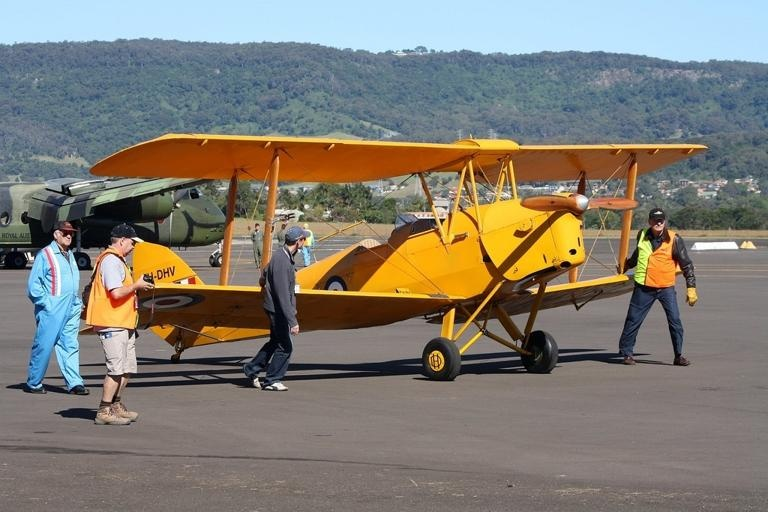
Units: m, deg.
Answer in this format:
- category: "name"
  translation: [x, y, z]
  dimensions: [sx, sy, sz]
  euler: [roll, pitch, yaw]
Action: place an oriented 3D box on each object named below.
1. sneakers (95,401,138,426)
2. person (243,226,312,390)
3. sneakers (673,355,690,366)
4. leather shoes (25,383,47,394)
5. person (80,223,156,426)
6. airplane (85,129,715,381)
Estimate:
- category: "sneakers"
  translation: [-3.104, 1.792, 12.012]
  dimensions: [0.426, 0.131, 0.281]
  euler: [1, 5, 0]
- category: "person"
  translation: [-1.423, 0.708, 13.534]
  dimensions: [0.815, 2.105, 0.917]
  euler: [-1, 10, -4]
- category: "sneakers"
  translation: [4.277, 1.495, 14.960]
  dimensions: [0.124, 0.079, 0.217]
  euler: [0, -6, -15]
- category: "leather shoes"
  translation: [-4.560, 1.699, 13.425]
  dimensions: [0.366, 0.115, 0.113]
  euler: [0, 3, -5]
- category: "person"
  translation: [-3.087, 0.783, 11.994]
  dimensions: [0.653, 2.246, 0.548]
  euler: [-4, 11, -16]
- category: "airplane"
  translation: [0.264, -0.006, 14.798]
  dimensions: [7.686, 3.471, 2.950]
  euler: [-2, 9, -13]
